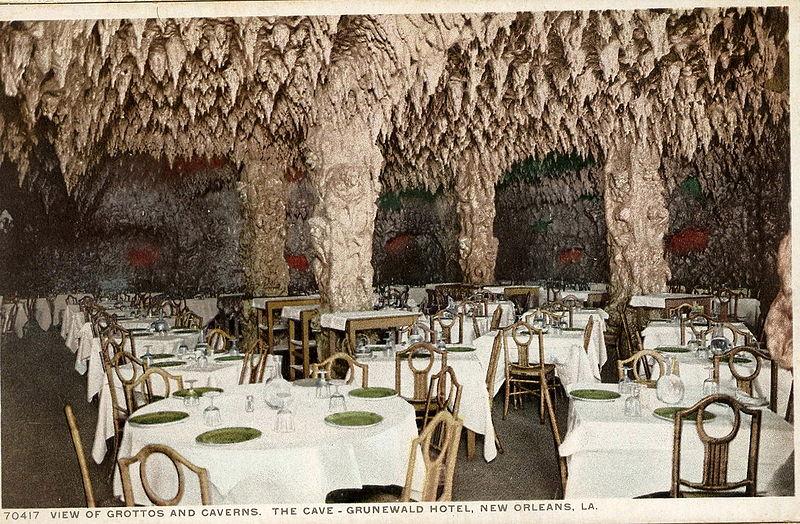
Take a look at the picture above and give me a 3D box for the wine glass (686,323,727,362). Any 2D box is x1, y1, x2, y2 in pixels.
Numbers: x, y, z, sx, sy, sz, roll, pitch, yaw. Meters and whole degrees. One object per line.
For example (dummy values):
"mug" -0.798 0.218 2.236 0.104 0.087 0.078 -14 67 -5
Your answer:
"wine glass" 4.189 1.104 10.870 0.387 0.359 0.161 3 -9 -32

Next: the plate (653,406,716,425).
"plate" 3.090 1.662 8.736 0.717 0.183 0.517 1 -5 -39
